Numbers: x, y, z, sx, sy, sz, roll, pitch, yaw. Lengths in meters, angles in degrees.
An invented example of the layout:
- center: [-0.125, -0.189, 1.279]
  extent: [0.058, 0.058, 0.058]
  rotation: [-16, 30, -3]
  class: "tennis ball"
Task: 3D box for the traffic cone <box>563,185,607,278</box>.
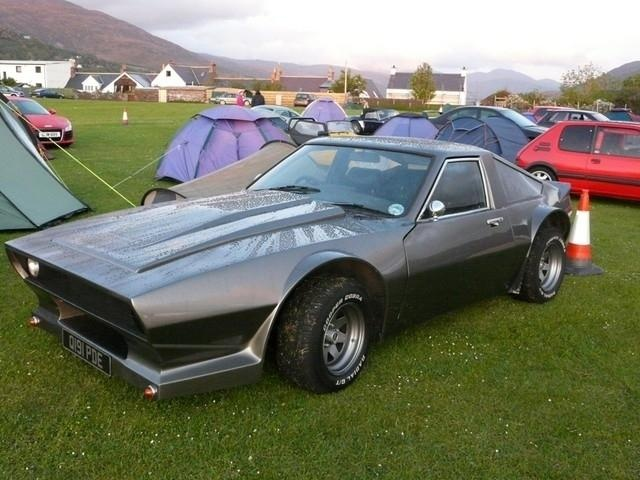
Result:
- center: [3.523, -0.135, 5.644]
  extent: [0.681, 1.034, 0.693]
  rotation: [-1, 13, -16]
  class: "traffic cone"
